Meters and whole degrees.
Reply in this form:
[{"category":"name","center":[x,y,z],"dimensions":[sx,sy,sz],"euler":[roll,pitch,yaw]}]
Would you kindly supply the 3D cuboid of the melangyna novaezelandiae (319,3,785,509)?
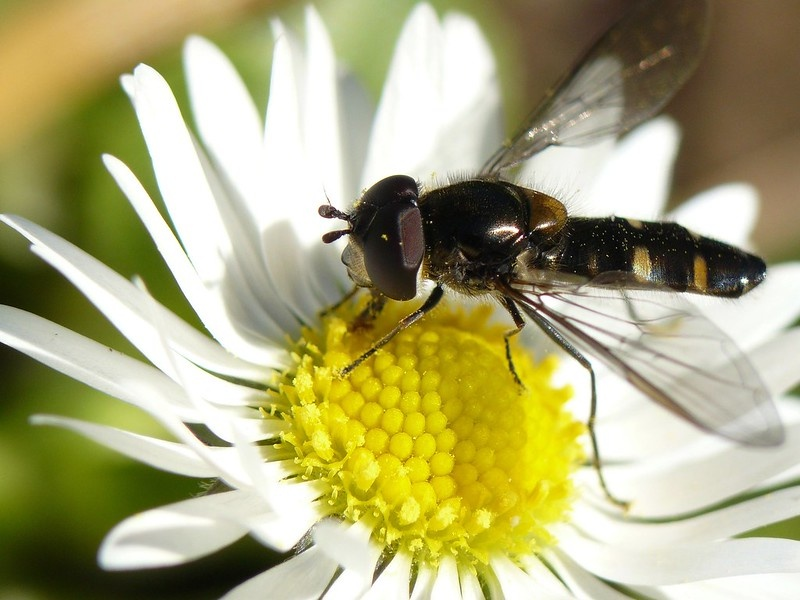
[{"category":"melangyna novaezelandiae","center":[0.247,0.039,2.238],"dimensions":[1.122,0.585,1.430],"euler":[2,59,-7]}]
